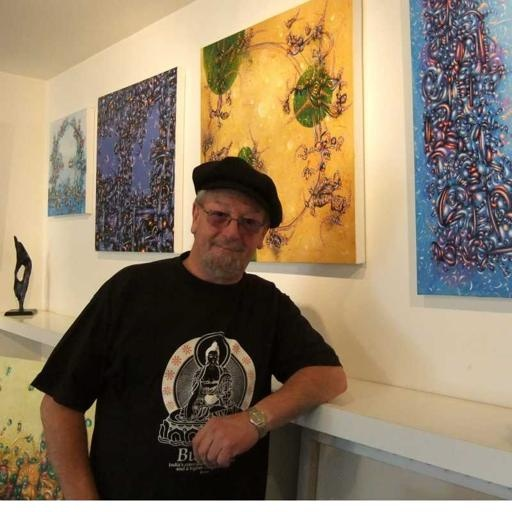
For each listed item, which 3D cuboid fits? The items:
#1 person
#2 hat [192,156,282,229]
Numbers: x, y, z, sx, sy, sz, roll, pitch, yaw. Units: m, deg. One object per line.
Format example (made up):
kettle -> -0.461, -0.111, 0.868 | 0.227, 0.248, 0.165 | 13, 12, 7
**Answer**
person -> -0.170, 0.220, 1.245 | 0.830, 1.026, 0.350 | -2, -4, -5
hat -> -0.075, -0.164, 1.406 | 0.286, 0.175, 0.400 | 6, -12, 12
